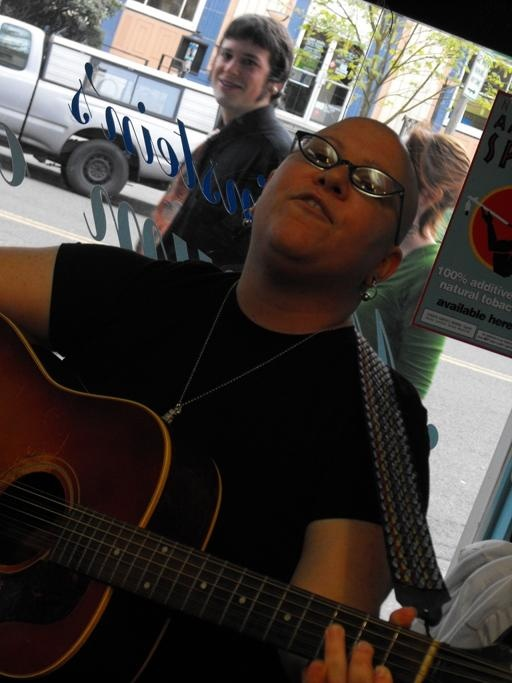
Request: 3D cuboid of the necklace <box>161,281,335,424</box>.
[{"bbox_3d":[-0.003,-0.006,1.116,0.120,0.391,0.017,38,-16,24],"label":"necklace"}]
